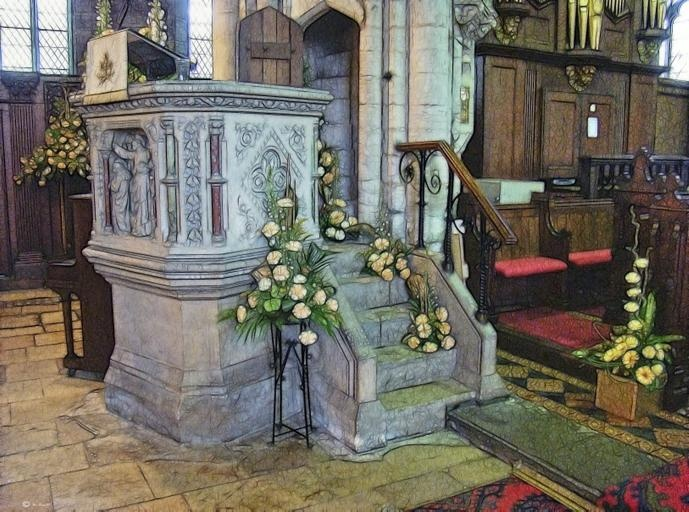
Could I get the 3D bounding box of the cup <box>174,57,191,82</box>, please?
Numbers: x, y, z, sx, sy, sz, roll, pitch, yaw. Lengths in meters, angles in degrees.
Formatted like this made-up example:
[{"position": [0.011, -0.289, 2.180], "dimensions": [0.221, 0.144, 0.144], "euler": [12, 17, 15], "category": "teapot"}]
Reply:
[{"position": [-1.655, -1.949, 6.707], "dimensions": [0.159, 0.206, 0.252], "euler": [2, 12, 22], "category": "cup"}]
